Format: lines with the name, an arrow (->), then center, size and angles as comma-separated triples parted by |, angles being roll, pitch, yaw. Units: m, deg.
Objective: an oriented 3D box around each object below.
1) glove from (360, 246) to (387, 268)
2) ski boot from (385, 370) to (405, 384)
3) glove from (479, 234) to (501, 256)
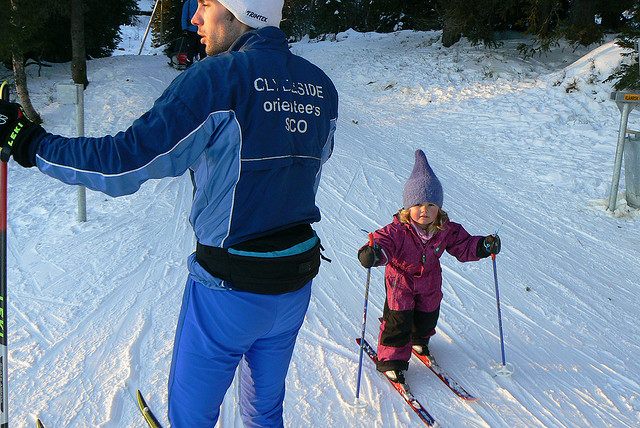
glove -> 0.602, 0.467, 5.831 | 0.329, 0.236, 0.136 | -3, 20, -29
ski boot -> 0.871, 1.861, 6.107 | 0.236, 0.113, 0.121 | 12, 19, 8
glove -> 1.967, 0.376, 6.094 | 0.160, 0.242, 0.250 | 5, 29, -3
